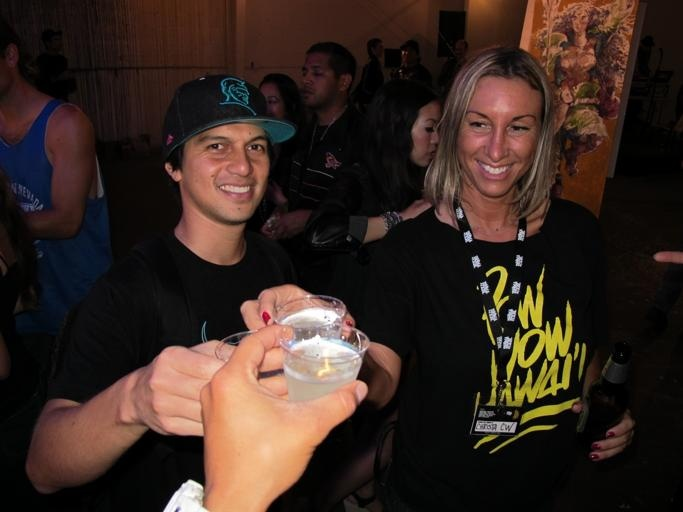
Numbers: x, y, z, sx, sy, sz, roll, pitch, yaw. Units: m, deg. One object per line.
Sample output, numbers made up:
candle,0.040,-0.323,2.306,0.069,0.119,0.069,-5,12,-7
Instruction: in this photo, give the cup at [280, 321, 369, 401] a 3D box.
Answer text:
cup,-0.038,0.308,1.564,0.262,0.211,0.229,11,17,35

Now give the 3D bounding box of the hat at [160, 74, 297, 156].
hat,-0.548,-0.605,2.310,0.522,0.290,0.385,-5,14,28
